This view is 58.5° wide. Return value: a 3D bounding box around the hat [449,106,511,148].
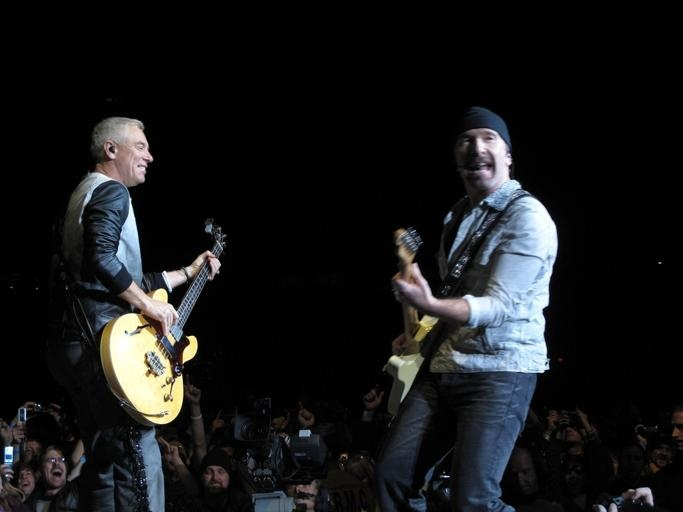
[{"bbox_3d":[0.844,-0.767,3.560,0.280,0.190,0.304,9,-7,40],"label":"hat"}]
